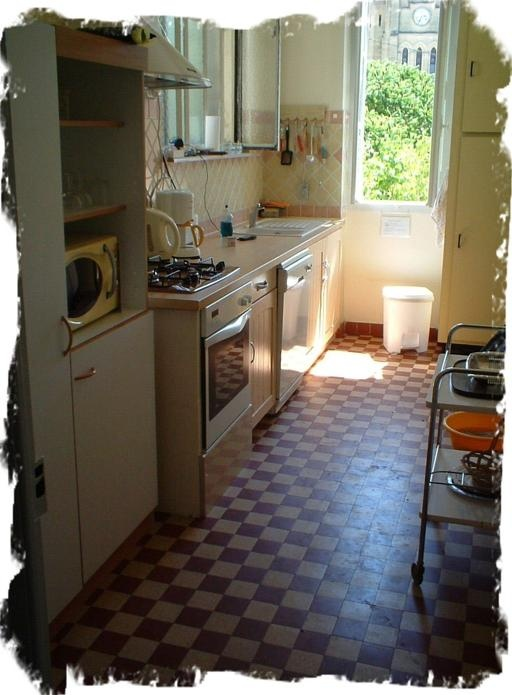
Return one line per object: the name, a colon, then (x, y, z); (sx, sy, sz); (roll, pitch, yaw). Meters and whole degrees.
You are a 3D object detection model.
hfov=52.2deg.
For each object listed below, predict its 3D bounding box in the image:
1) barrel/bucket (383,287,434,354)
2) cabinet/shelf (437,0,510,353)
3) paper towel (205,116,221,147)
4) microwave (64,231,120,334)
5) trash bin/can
barrel/bucket: (1.234, -0.256, 4.659); (0.439, 0.655, 0.525); (0, 9, 4)
cabinet/shelf: (1.703, -1.268, 3.998); (0.476, 2.503, 0.375); (3, 10, 22)
paper towel: (-0.284, -1.375, 3.348); (0.090, 0.191, 0.044); (-4, 10, -20)
microwave: (-0.570, -0.218, 1.800); (0.167, 0.202, 0.295); (6, 28, 11)
trash bin/can: (1.290, -0.268, 4.655); (0.440, 0.652, 0.525); (0, 9, 3)
